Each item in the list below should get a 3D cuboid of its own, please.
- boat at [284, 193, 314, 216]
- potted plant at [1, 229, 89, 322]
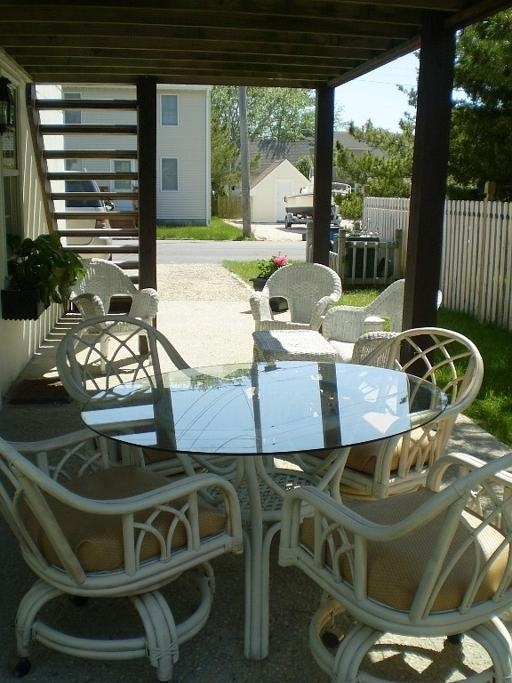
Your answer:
[{"bbox_3d":[2.195,-7.010,29.305,1.323,1.148,1.925,-2,9,2],"label":"boat"},{"bbox_3d":[-1.633,-0.458,4.277,0.673,0.468,0.607,7,17,-10],"label":"potted plant"}]
